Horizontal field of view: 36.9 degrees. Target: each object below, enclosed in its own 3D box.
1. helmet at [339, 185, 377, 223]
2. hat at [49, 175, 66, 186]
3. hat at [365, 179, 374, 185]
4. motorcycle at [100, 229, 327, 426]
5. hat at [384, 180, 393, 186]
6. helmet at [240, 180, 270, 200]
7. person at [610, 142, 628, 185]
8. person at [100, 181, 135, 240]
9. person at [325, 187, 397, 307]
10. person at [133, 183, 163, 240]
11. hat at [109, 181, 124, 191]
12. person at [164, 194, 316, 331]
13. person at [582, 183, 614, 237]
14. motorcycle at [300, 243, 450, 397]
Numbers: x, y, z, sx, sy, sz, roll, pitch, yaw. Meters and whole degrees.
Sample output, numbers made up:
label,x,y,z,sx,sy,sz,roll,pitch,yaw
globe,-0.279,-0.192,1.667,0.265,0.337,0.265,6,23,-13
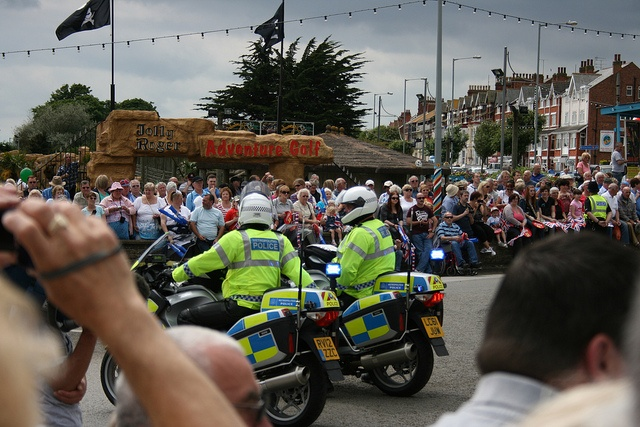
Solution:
label,x,y,z,sx,sy,sz,roll,pitch,yaw
helmet,0.343,-0.089,8.691,0.429,0.340,0.343,-3,8,-4
hat,-3.891,-0.461,14.100,0.230,0.090,0.239,3,23,-6
hat,0.925,-0.599,17.773,0.147,0.121,0.235,-1,-18,2
motorcycle,-0.815,0.852,7.873,2.151,1.304,1.062,5,1,27
hat,1.350,-0.591,18.849,0.147,0.076,0.210,0,5,8
helmet,-0.631,-0.250,9.284,0.232,0.218,0.360,2,4,1
person,6.914,-1.170,22.093,0.288,0.898,1.113,2,6,18
person,-2.906,0.121,13.763,0.494,1.029,0.364,-3,22,-15
person,0.303,0.493,8.622,0.687,1.461,0.678,3,12,10
person,-2.488,0.140,13.899,0.502,1.130,0.374,0,13,-7
hat,-2.929,-0.386,13.756,0.232,0.099,0.301,-1,-3,-9
person,-0.605,0.386,7.831,1.174,1.050,0.718,1,0,-25
person,5.233,-0.081,17.937,0.526,0.986,0.781,2,6,16
motorcycle,0.311,0.919,8.624,0.775,1.405,2.014,11,-14,-41
